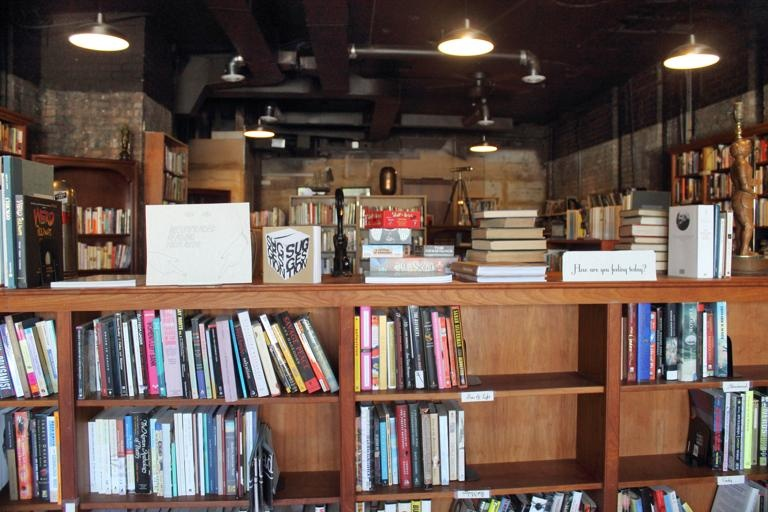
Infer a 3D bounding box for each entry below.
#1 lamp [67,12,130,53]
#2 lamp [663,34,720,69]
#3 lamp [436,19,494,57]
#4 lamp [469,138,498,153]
[{"bbox_3d":[-2.764,-2.235,7.515,0.555,0.293,0.555,15,22,8],"label":"lamp"},{"bbox_3d":[3.013,-1.990,7.648,0.460,0.231,0.439,-1,9,-6],"label":"lamp"},{"bbox_3d":[0.797,-2.231,7.743,0.476,0.295,0.484,1,-3,-26],"label":"lamp"},{"bbox_3d":[1.479,-1.641,11.581,0.448,0.216,0.429,0,1,-5],"label":"lamp"}]
